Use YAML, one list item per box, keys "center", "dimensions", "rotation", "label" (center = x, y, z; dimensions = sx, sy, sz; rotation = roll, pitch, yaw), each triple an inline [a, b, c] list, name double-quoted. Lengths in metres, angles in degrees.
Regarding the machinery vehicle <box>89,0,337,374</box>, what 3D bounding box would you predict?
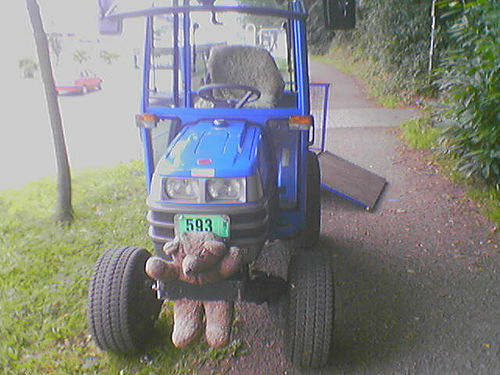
- center: [-0.239, -0.256, 5.071]
  dimensions: [2.311, 3.443, 2.771]
  rotation: [1, 21, 11]
  label: "machinery vehicle"
